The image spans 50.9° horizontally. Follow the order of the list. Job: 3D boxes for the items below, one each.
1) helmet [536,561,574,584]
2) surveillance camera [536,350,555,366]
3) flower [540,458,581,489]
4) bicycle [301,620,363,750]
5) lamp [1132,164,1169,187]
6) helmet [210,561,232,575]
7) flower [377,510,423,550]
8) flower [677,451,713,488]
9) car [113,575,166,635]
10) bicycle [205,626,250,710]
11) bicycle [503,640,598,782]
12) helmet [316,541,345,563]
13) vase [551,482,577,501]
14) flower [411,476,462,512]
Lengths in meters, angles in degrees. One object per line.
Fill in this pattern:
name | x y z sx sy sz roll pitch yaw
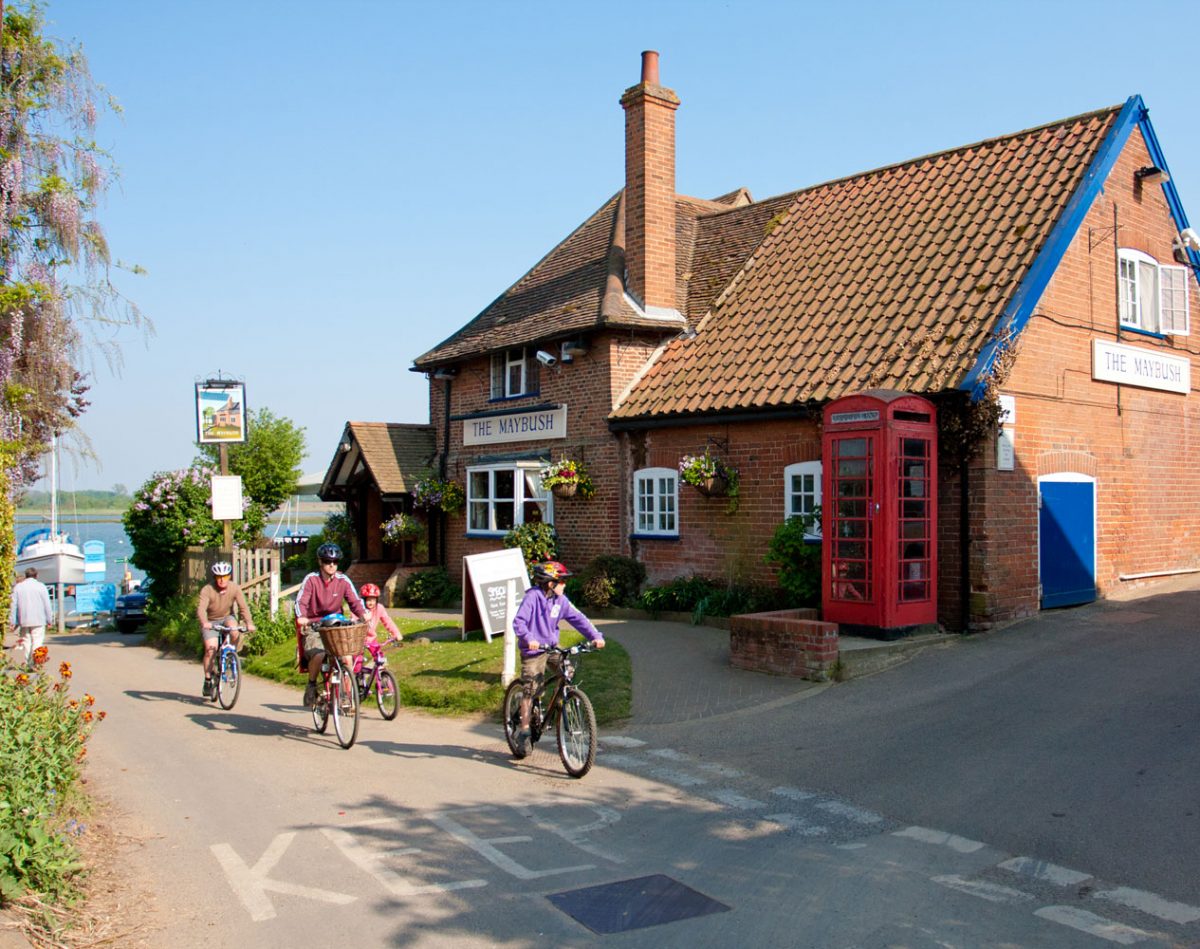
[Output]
helmet | -0.501 1.070 13.725 0.285 0.200 0.224 1 2 1
surveillance camera | -1.067 -2.381 25.736 0.349 0.226 0.653 0 -1 -7
flower | -0.751 0.016 24.848 0.610 0.397 0.647 2 -2 -12
bicycle | -3.042 2.462 14.743 0.645 0.909 1.477 2 -7 -22
lamp | 9.245 -5.055 21.479 0.464 0.116 0.443 2 -11 -10
helmet | -5.018 1.271 16.878 0.208 0.223 0.440 -4 8 -22
flower | -4.632 1.294 29.692 0.919 0.759 0.902 -5 -5 19
flower | 1.686 -0.081 21.854 0.546 0.566 0.569 -5 2 7
car | -12.624 3.352 34.313 1.660 1.592 2.929 -1 -9 -14
bicycle | -5.042 2.652 17.082 0.425 1.130 1.177 -5 8 -24
bicycle | -0.324 2.584 13.764 0.728 1.046 1.629 4 -8 -28
helmet | -3.209 0.952 15.132 0.220 0.287 0.288 6 -13 -26
vase | -0.603 0.318 24.780 0.352 0.274 0.392 3 3 27
flower | -3.644 0.451 28.863 0.891 0.656 0.912 3 0 -22
